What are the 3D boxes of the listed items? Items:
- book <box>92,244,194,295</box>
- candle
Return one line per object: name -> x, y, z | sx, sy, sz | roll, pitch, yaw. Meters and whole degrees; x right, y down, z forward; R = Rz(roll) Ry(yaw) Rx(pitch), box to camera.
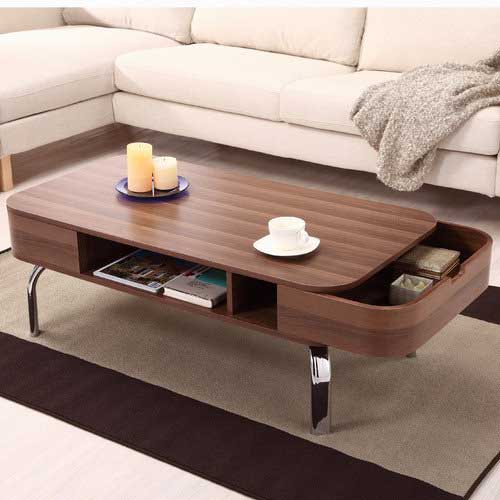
book -> -0.263, 0.049, 1.203 | 0.138, 0.011, 0.137 | 13, 25, 27
candle -> -0.270, -0.229, 1.359 | 0.210, 0.150, 0.096 | -2, 34, -4
